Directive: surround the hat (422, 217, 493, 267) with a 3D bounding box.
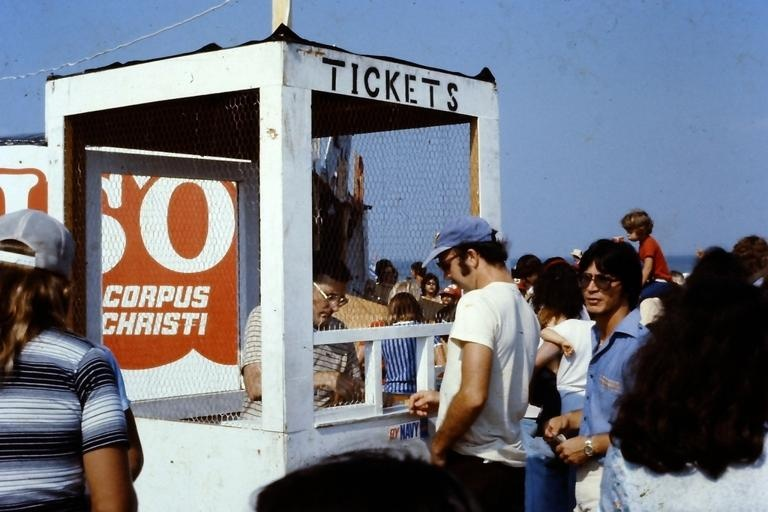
[{"bbox_3d":[0.438,-0.080,6.822,0.298,0.175,0.220,-7,-2,1],"label":"hat"}]

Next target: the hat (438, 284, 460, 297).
[{"bbox_3d":[0.460,0.243,8.346,0.099,0.089,0.148,5,-16,33],"label":"hat"}]

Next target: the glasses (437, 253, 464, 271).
[{"bbox_3d":[0.396,0.051,6.825,0.103,0.036,0.113,-11,-19,19],"label":"glasses"}]
